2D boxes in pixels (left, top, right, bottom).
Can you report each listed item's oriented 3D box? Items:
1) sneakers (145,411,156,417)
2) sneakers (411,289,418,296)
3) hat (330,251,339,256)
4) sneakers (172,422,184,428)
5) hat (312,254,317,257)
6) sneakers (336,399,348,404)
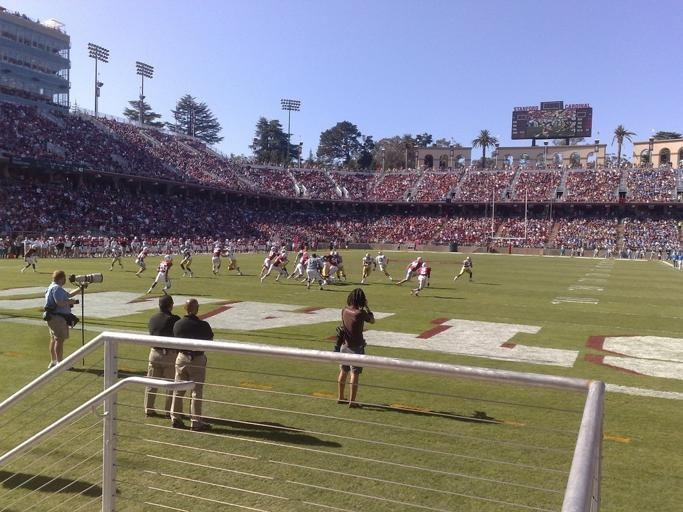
[{"bbox_3d":[-2.889,2.366,9.385,0.183,0.081,0.075,3,3,12],"label":"sneakers"},{"bbox_3d":[3.080,1.501,25.486,0.235,0.066,0.223,23,-7,16],"label":"sneakers"},{"bbox_3d":[-0.291,-0.077,29.015,0.418,0.109,0.372,-1,3,-10],"label":"hat"},{"bbox_3d":[-2.324,2.386,8.823,0.149,0.117,0.083,2,2,0],"label":"sneakers"},{"bbox_3d":[-1.138,-0.015,27.021,0.186,0.057,0.158,6,5,-2],"label":"hat"},{"bbox_3d":[0.029,2.318,9.955,0.154,0.064,0.075,2,3,-4],"label":"sneakers"}]
